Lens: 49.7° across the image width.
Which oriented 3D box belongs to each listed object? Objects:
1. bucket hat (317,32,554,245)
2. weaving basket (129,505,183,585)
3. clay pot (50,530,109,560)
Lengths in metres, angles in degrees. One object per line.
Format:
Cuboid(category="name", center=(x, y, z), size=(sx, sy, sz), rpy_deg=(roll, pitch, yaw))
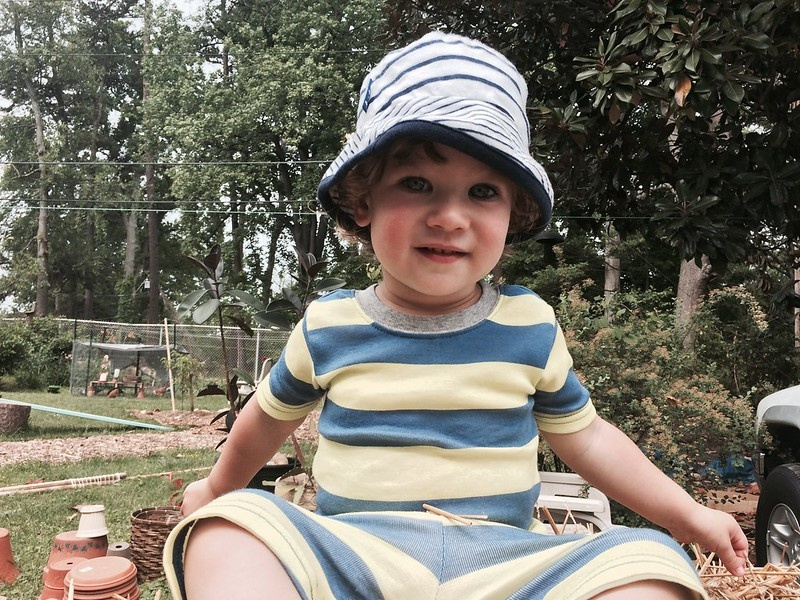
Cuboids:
Cuboid(category="bucket hat", center=(0.143, -0.733, 3.774), size=(1.011, 0.712, 1.167), rpy_deg=(-5, -12, 22))
Cuboid(category="weaving basket", center=(-1.381, 1.442, 5.171), size=(0.350, 0.372, 0.342), rpy_deg=(6, -17, -36))
Cuboid(category="clay pot", center=(-1.750, 1.335, 4.689), size=(0.188, 0.098, 0.191), rpy_deg=(2, -3, 0))
